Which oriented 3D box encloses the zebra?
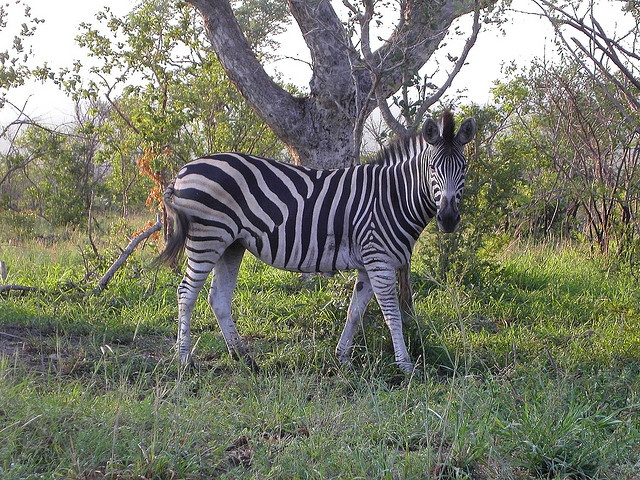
[{"bbox_3d":[-0.217,0.009,7.843,3.959,3.719,1.643,-1,-1,-7],"label":"zebra"}]
